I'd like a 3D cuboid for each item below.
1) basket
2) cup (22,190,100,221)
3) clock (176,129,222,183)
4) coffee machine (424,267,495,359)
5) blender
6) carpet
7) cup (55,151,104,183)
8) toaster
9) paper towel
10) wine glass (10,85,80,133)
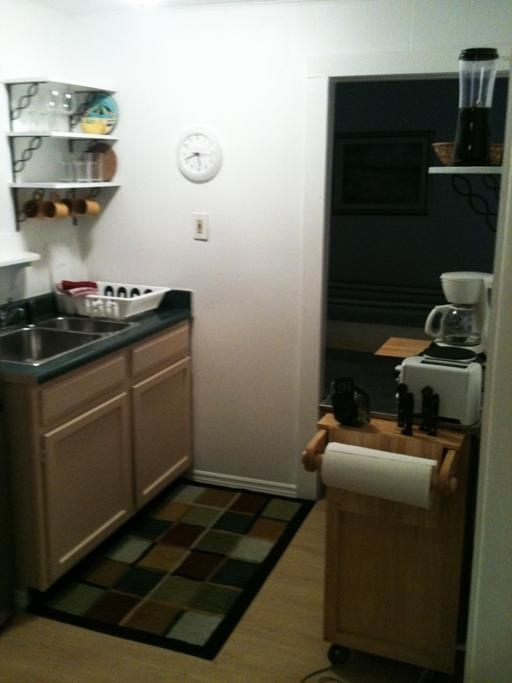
[{"bbox_3d":[-0.592,-0.239,2.510,0.464,0.175,0.372,7,14,13],"label":"basket"},{"bbox_3d":[-0.824,-0.578,2.371,0.137,0.124,0.293,6,15,21],"label":"cup"},{"bbox_3d":[-0.243,-0.779,2.364,0.172,0.210,0.074,6,18,18],"label":"clock"},{"bbox_3d":[0.566,-0.075,1.661,0.161,0.282,0.213,9,17,23],"label":"coffee machine"},{"bbox_3d":[0.534,-0.574,1.369,0.127,0.311,0.116,4,17,12],"label":"blender"},{"bbox_3d":[-0.236,0.801,2.207,0.665,0.015,1.108,4,10,22],"label":"carpet"},{"bbox_3d":[-0.716,-0.722,2.278,0.149,0.103,0.148,1,6,0],"label":"cup"},{"bbox_3d":[0.473,0.125,1.455,0.222,0.163,0.168,4,12,16],"label":"toaster"},{"bbox_3d":[0.277,0.310,1.312,0.259,0.098,0.083,6,13,25],"label":"paper towel"},{"bbox_3d":[-0.827,-0.905,2.170,0.143,0.177,0.266,6,9,24],"label":"wine glass"}]
